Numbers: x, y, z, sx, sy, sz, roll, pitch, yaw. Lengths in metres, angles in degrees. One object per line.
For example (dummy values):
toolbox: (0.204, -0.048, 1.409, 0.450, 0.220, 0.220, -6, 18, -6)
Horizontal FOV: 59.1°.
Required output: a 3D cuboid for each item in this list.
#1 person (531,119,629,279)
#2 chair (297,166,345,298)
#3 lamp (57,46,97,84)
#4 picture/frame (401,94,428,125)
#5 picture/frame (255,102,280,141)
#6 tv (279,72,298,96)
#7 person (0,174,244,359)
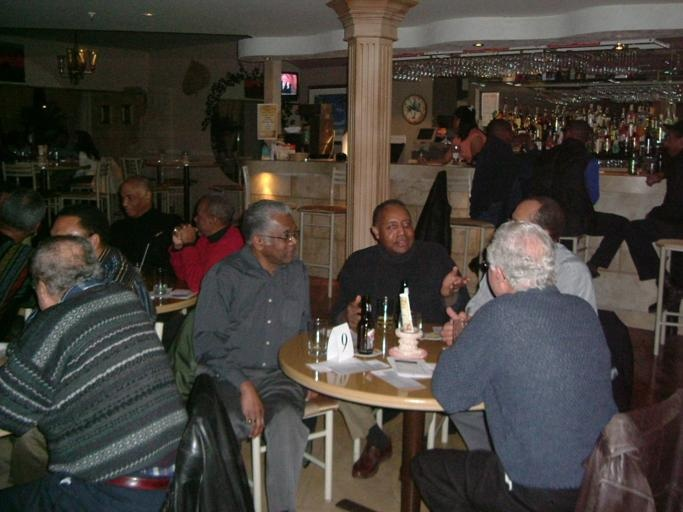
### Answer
person: (2.315, -0.605, 6.253, 1.015, 1.600, 1.058, -8, 20, -25)
chair: (-0.290, -0.331, 7.017, 0.588, 1.340, 0.598, 4, -7, -14)
lamp: (-4.199, -3.069, 9.601, 0.602, 0.585, 0.616, -3, 8, -22)
picture/frame: (1.361, -2.728, 11.074, 0.593, 0.593, 0.064, 2, 12, 32)
picture/frame: (-0.951, -1.782, 7.957, 0.271, 0.503, 0.260, 0, 7, -4)
tv: (-0.974, -3.332, 11.623, 0.269, 0.509, 0.578, 0, 7, 1)
person: (-1.225, -0.045, 3.738, 0.960, 0.242, 1.010, 5, 22, 7)
